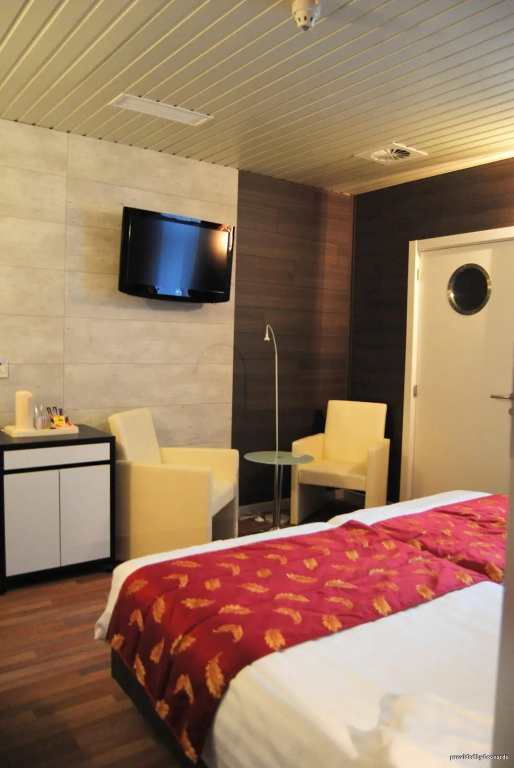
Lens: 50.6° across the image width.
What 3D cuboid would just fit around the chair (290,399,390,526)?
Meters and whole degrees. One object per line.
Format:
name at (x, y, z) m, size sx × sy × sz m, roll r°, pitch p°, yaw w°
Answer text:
chair at (0.676, 0.606, 4.314) m, size 0.651 × 0.946 × 0.602 m, roll 4°, pitch 4°, yaw 25°

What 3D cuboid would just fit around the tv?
tv at (-0.576, -0.865, 3.672) m, size 0.737 × 0.516 × 0.076 m, roll -2°, pitch 13°, yaw -40°

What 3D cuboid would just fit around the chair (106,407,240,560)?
chair at (-0.488, 0.629, 3.453) m, size 0.818 × 0.870 × 0.808 m, roll -1°, pitch 5°, yaw -23°
